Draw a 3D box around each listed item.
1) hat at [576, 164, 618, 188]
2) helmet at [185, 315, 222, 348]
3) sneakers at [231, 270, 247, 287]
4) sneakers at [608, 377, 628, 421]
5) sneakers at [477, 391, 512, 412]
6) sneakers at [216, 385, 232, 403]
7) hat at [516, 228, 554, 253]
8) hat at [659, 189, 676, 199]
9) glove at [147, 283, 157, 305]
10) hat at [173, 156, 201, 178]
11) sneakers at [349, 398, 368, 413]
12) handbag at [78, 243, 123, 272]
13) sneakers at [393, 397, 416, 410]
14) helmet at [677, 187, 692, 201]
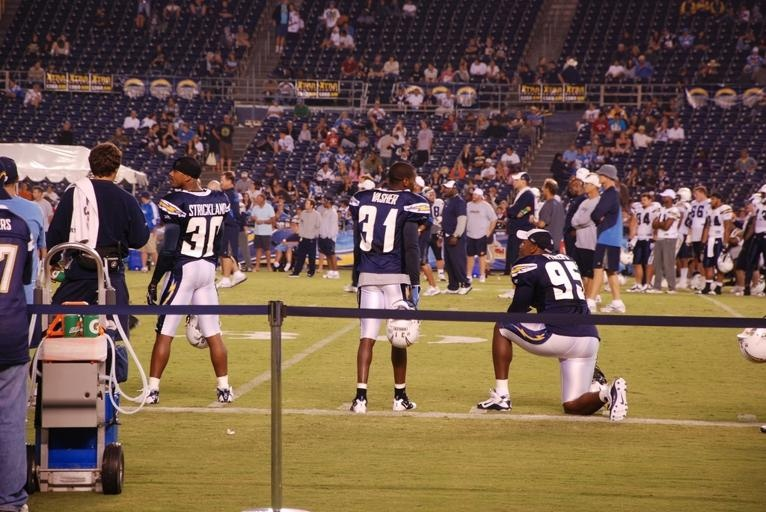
[{"bbox_3d":[4.147,-1.531,24.214,0.671,0.303,0.421,3,3,6],"label":"hat"},{"bbox_3d":[-2.666,1.133,18.338,0.350,0.434,0.447,6,-9,-38],"label":"helmet"},{"bbox_3d":[-3.242,0.513,27.939,0.232,0.288,0.671,-41,6,-22],"label":"sneakers"},{"bbox_3d":[3.314,2.017,17.562,0.258,0.565,0.286,2,-4,-18],"label":"sneakers"},{"bbox_3d":[1.608,2.091,18.032,0.615,0.284,0.203,2,-4,15],"label":"sneakers"},{"bbox_3d":[-2.279,1.976,18.157,0.216,0.234,0.232,-1,13,-6],"label":"sneakers"},{"bbox_3d":[2.373,-0.241,19.508,0.563,0.279,0.344,19,12,12],"label":"hat"},{"bbox_3d":[6.284,-1.372,27.571,0.390,0.203,0.266,8,-6,-32],"label":"hat"},{"bbox_3d":[-3.239,0.550,17.718,0.128,0.381,0.114,10,-5,-22],"label":"glove"},{"bbox_3d":[-2.805,-1.294,18.009,0.370,0.227,0.275,28,11,18],"label":"hat"},{"bbox_3d":[-0.349,2.117,17.808,0.235,0.192,0.181,0,13,-4],"label":"sneakers"},{"bbox_3d":[-3.787,0.021,16.901,0.476,0.208,0.343,-1,1,14],"label":"handbag"},{"bbox_3d":[0.282,2.104,17.932,0.385,0.157,0.137,-2,3,-44],"label":"sneakers"},{"bbox_3d":[6.923,-1.435,29.142,0.308,0.362,0.394,9,11,32],"label":"helmet"}]
